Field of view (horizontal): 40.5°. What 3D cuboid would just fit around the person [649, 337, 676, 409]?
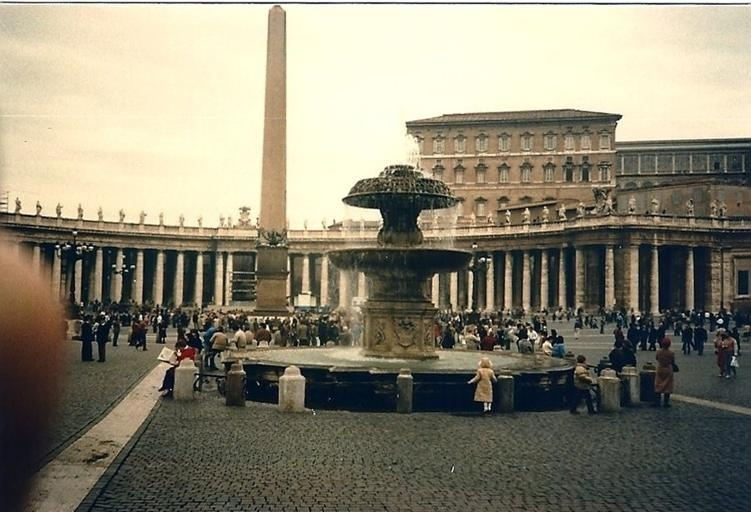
[{"bbox_3d":[8.018,3.213,28.305,0.623,1.830,1.475,-2,-2,16],"label":"person"}]

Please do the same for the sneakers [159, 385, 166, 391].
[{"bbox_3d":[-6.029,3.759,28.749,0.154,0.190,0.614,-1,-2,-18],"label":"sneakers"}]

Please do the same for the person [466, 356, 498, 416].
[{"bbox_3d":[2.798,3.411,26.711,0.713,1.440,0.762,-2,-2,5],"label":"person"}]

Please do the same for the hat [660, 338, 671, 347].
[{"bbox_3d":[8.022,2.434,28.306,0.233,0.260,0.290,6,8,17],"label":"hat"}]
